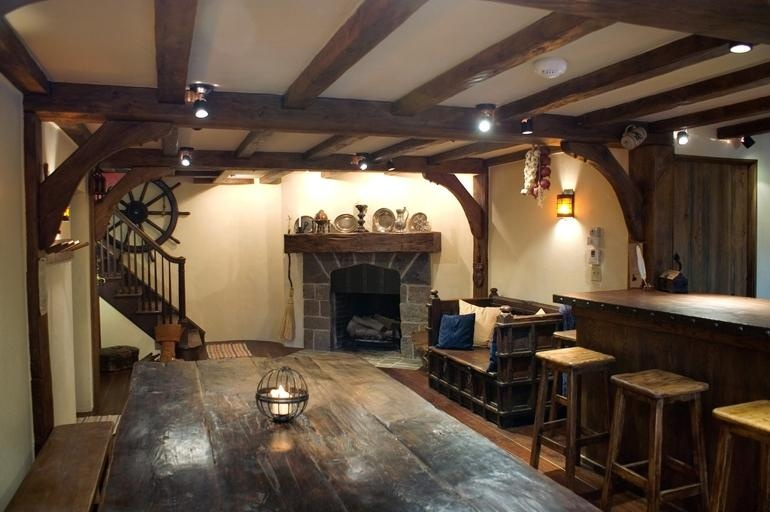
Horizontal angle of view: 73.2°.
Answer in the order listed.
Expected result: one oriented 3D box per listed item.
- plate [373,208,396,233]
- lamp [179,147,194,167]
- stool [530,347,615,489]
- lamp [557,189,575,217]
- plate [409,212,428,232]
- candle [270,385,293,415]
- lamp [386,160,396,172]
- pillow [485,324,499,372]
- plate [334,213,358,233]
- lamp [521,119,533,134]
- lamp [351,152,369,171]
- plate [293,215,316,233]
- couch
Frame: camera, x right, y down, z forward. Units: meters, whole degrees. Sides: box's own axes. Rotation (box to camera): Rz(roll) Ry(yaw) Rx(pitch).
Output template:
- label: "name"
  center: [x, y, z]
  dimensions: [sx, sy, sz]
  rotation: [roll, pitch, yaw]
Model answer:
- label: "plate"
  center: [-0.008, -0.580, 8.377]
  dimensions: [0.357, 0.369, 0.198]
  rotation: [1, 12, 1]
- label: "lamp"
  center: [-2.301, -1.143, 6.030]
  dimensions: [0.163, 0.235, 0.567]
  rotation: [-4, 13, -21]
- label: "stool"
  center: [1.559, 1.299, 4.288]
  dimensions: [0.668, 0.933, 0.668]
  rotation: [-2, -3, 36]
- label: "lamp"
  center: [2.084, -0.611, 6.068]
  dimensions: [0.151, 0.336, 0.244]
  rotation: [-5, 14, -25]
- label: "plate"
  center: [0.526, -0.531, 8.074]
  dimensions: [0.319, 0.290, 0.250]
  rotation: [2, 12, 6]
- label: "candle"
  center: [-0.591, 0.812, 2.936]
  dimensions: [0.142, 0.150, 0.133]
  rotation: [1, -4, -14]
- label: "lamp"
  center: [0.062, -1.146, 6.591]
  dimensions: [0.105, 0.115, 0.136]
  rotation: [-7, -7, 31]
- label: "pillow"
  center: [1.170, 1.055, 5.667]
  dimensions: [0.110, 0.362, 0.373]
  rotation: [5, -1, 18]
- label: "plate"
  center: [-0.661, -0.552, 8.685]
  dimensions: [0.410, 0.319, 0.192]
  rotation: [1, 12, 2]
- label: "lamp"
  center: [1.259, -1.157, 4.606]
  dimensions: [0.100, 0.129, 0.176]
  rotation: [4, 12, 14]
- label: "lamp"
  center: [-0.307, -1.194, 6.495]
  dimensions: [0.221, 0.220, 0.401]
  rotation: [-6, 6, -9]
- label: "plate"
  center: [-1.384, -0.551, 9.014]
  dimensions: [0.326, 0.323, 0.044]
  rotation: [-7, 6, 13]
- label: "couch"
  center: [1.209, 1.302, 6.227]
  dimensions: [1.221, 1.412, 1.965]
  rotation: [1, 1, -22]
